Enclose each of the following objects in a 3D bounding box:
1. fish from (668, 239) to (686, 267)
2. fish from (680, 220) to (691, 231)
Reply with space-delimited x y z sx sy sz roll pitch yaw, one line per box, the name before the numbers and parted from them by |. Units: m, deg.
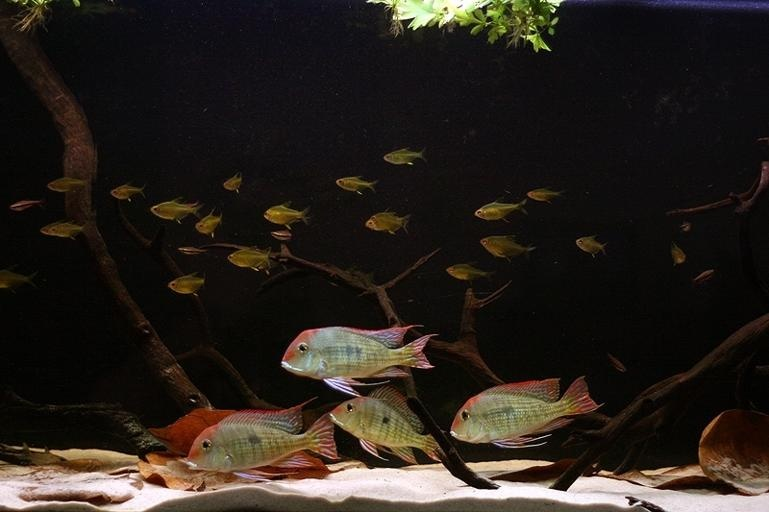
fish | 2.865 -0.024 7.660 0.136 0.220 0.051 -2 2 -2
fish | 2.956 -0.292 7.616 0.105 0.103 0.044 4 17 -6
